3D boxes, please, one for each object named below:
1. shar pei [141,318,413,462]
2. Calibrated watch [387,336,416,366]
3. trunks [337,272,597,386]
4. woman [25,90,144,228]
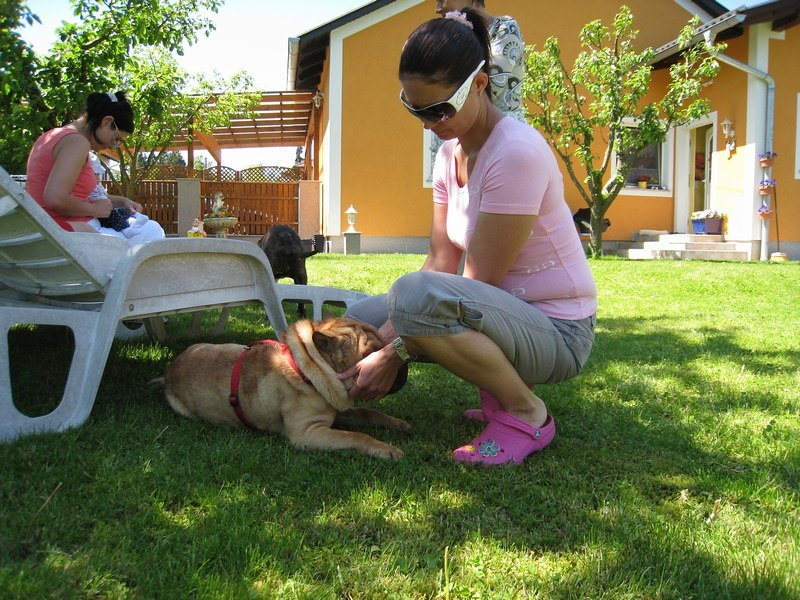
[{"bbox_3d":[-0.643,0.445,3.221,1.291,0.656,0.609,8,19,7],"label":"shar pei"},{"bbox_3d":[0.016,0.246,2.917,0.086,0.143,0.132,-34,30,-16],"label":"Calibrated watch"},{"bbox_3d":[0.450,0.135,2.893,1.022,0.539,0.257,-2,8,-22],"label":"trunks"},{"bbox_3d":[-2.014,-0.844,4.023,0.637,0.977,0.560,11,2,-43],"label":"woman"}]
